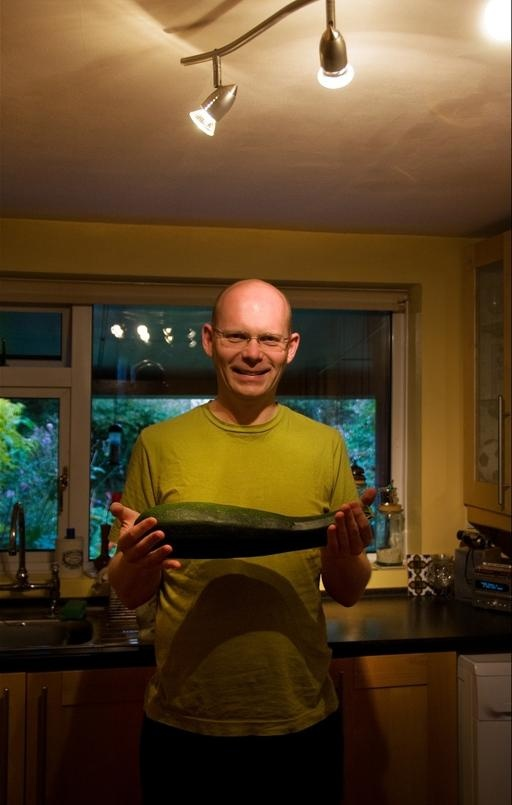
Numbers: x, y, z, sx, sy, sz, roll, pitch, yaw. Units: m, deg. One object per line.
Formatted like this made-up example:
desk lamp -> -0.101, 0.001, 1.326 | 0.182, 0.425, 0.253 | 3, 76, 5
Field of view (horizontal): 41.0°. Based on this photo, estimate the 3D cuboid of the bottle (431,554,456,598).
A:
bottle -> 0.605, 0.563, 2.235 | 0.074, 0.134, 0.024 | 0, -3, 0

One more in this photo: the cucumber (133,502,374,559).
cucumber -> -0.004, 0.158, 0.957 | 0.324, 0.087, 0.094 | 0, -2, -8

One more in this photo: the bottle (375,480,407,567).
bottle -> 0.453, 0.411, 2.323 | 0.100, 0.266, 0.111 | -1, -3, 11

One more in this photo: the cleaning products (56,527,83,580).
cleaning products -> -0.583, 0.470, 2.154 | 0.080, 0.158, 0.064 | 1, -3, -16
